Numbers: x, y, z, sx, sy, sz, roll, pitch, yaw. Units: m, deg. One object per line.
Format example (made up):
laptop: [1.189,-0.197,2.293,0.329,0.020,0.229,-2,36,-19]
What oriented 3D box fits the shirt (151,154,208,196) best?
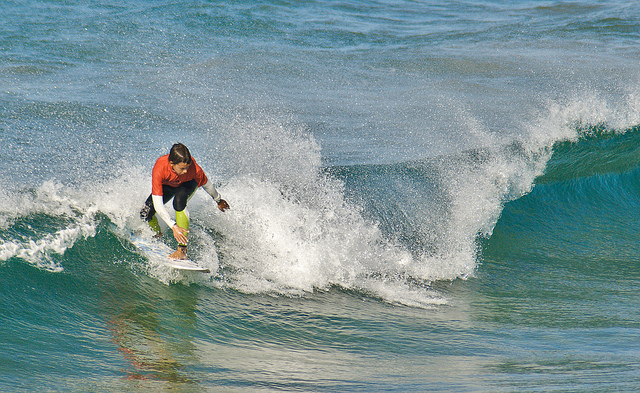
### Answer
shirt: [-2.894,-0.311,17.948,1.451,0.767,0.782,-7,88,4]

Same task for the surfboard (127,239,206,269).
surfboard: [-3.270,1.160,18.336,2.258,0.214,0.596,17,22,34]
